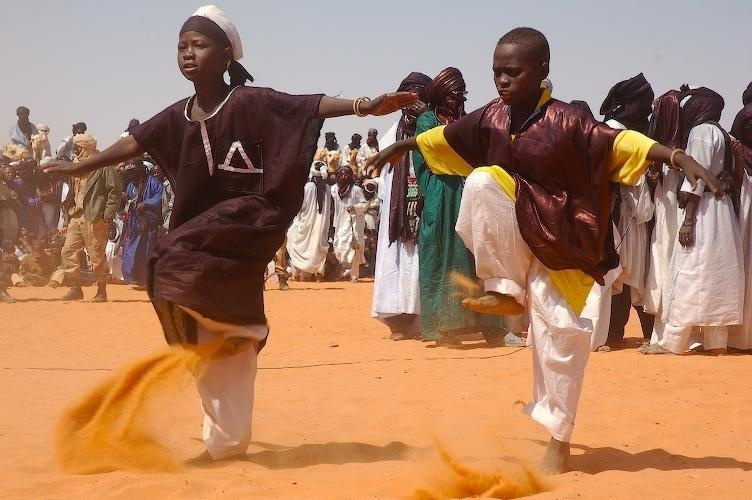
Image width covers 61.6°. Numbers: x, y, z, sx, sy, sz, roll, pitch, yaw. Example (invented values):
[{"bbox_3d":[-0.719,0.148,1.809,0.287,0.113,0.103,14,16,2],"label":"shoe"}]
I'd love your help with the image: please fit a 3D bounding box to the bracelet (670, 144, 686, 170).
[{"bbox_3d":[1.803,-0.551,3.770,0.110,0.111,0.047,-6,-1,27],"label":"bracelet"}]
